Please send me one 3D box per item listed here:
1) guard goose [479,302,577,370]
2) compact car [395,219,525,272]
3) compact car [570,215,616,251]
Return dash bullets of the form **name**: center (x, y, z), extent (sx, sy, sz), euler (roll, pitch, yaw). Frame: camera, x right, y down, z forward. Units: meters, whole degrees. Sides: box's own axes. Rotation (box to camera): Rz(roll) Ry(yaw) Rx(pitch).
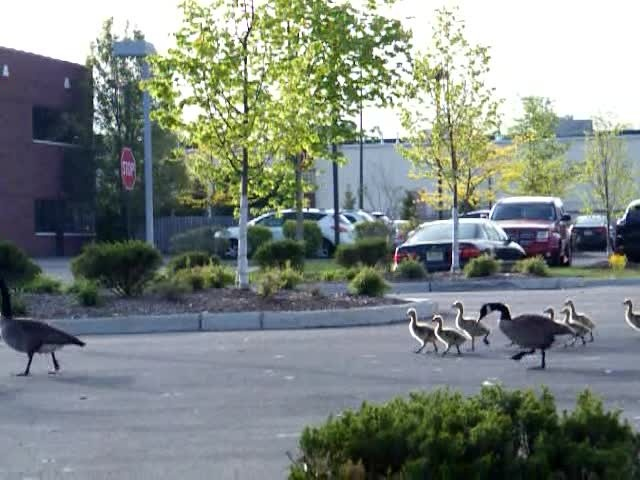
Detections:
- **guard goose**: center (4.468, 2.026, 32.056), extent (1.955, 1.574, 0.832), euler (-5, -10, 4)
- **compact car**: center (4.011, 0.185, 43.591), extent (3.807, 1.583, 2.576), euler (0, -2, -8)
- **compact car**: center (10.791, -0.213, 60.219), extent (1.326, 1.402, 2.002), euler (0, -2, 8)
